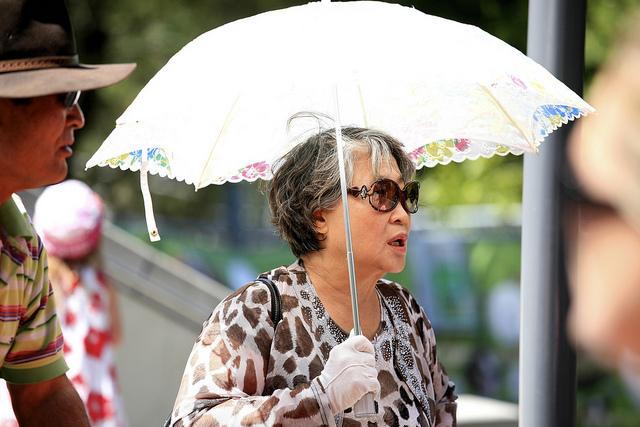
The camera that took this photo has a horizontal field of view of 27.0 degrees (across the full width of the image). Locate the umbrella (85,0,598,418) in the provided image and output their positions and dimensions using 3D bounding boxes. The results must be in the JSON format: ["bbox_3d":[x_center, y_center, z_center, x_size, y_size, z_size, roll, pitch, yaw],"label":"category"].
[{"bbox_3d":[0.087,-0.302,8.389,2.573,2.209,2.626,4,-22,-28],"label":"umbrella"}]

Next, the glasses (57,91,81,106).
[{"bbox_3d":[-1.477,-0.676,7.801,0.036,0.058,0.057,37,6,35],"label":"glasses"}]
